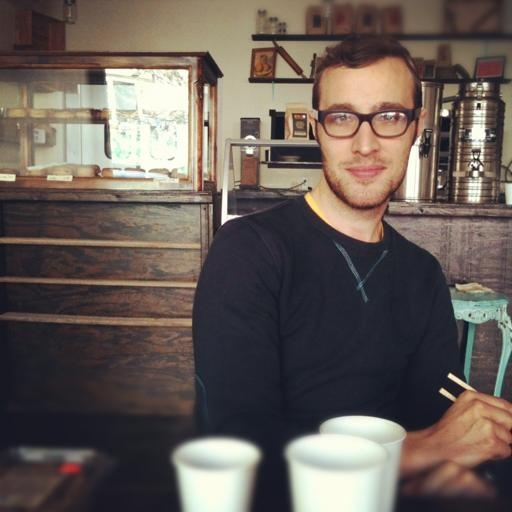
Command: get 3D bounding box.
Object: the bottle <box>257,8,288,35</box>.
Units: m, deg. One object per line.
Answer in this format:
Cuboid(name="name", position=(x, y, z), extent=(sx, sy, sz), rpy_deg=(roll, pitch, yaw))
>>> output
Cuboid(name="bottle", position=(0.159, -2.438, 5.934), extent=(0.316, 0.241, 0.152), rpy_deg=(1, 9, -2))
